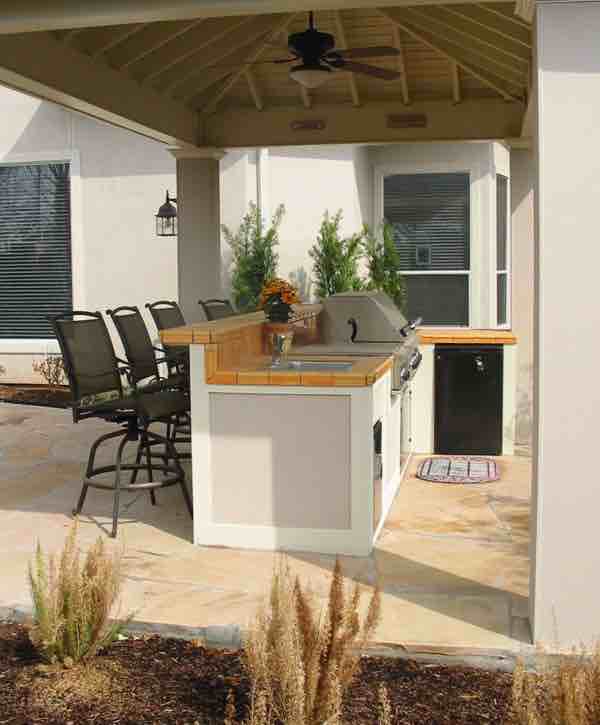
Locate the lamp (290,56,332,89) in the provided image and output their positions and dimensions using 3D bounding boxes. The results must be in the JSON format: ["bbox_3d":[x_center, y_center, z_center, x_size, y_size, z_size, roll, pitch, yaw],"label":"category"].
[{"bbox_3d":[0.064,-1.989,4.522,0.250,0.158,0.251,-1,5,-13],"label":"lamp"}]

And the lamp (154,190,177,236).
[{"bbox_3d":[-1.839,-2.084,9.135,0.276,0.669,0.813,-1,5,-13],"label":"lamp"}]

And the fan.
[{"bbox_3d":[0.240,-2.104,4.952,1.362,0.585,1.156,0,2,-2],"label":"fan"}]

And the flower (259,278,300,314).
[{"bbox_3d":[-0.132,-0.433,4.257,0.244,0.229,0.228,-2,9,-3],"label":"flower"}]
